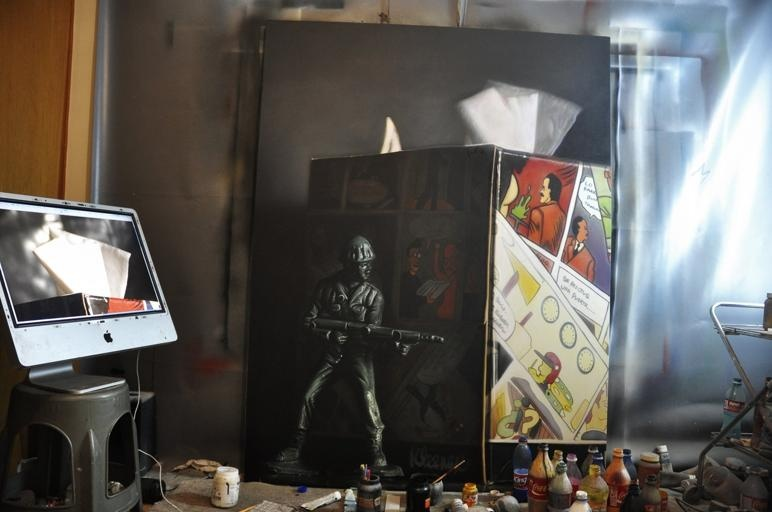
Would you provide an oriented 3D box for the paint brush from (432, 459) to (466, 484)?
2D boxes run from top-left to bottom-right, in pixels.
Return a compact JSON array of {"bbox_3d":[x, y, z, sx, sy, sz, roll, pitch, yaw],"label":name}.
[{"bbox_3d":[0.426,1.492,5.924,0.252,0.033,0.032,-32,51,-11],"label":"paint brush"}]

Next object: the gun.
[{"bbox_3d":[-0.057,0.575,5.967,0.656,0.207,0.140,9,-6,4],"label":"gun"}]

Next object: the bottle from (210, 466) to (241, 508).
[{"bbox_3d":[-1.067,1.543,5.738,0.191,0.243,0.187,2,8,0],"label":"bottle"}]

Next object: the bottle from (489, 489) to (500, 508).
[{"bbox_3d":[0.732,1.637,5.764,0.067,0.110,0.067,0,-3,0],"label":"bottle"}]

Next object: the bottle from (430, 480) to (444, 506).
[{"bbox_3d":[0.341,1.590,5.744,0.121,0.132,0.123,-1,-1,20],"label":"bottle"}]

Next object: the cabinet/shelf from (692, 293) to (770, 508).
[{"bbox_3d":[2.423,0.922,5.972,0.406,1.340,0.725,5,8,21],"label":"cabinet/shelf"}]

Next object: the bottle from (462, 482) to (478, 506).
[{"bbox_3d":[0.561,1.587,5.687,0.108,0.132,0.122,2,-8,-4],"label":"bottle"}]
